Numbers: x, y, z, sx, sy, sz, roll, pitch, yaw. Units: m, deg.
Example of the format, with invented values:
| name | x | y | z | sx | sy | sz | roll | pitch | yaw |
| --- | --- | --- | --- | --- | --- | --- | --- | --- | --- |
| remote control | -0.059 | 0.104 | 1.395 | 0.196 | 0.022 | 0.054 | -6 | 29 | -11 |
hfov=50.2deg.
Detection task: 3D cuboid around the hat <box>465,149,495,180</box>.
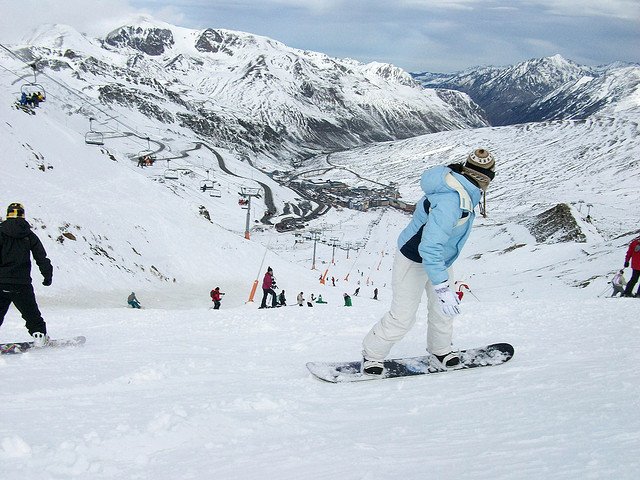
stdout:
| name | x | y | z | sx | sy | sz | roll | pitch | yaw |
| --- | --- | --- | --- | --- | --- | --- | --- | --- | --- |
| hat | 2.806 | -1.322 | 11.967 | 0.529 | 0.520 | 0.370 | 5 | 17 | 8 |
